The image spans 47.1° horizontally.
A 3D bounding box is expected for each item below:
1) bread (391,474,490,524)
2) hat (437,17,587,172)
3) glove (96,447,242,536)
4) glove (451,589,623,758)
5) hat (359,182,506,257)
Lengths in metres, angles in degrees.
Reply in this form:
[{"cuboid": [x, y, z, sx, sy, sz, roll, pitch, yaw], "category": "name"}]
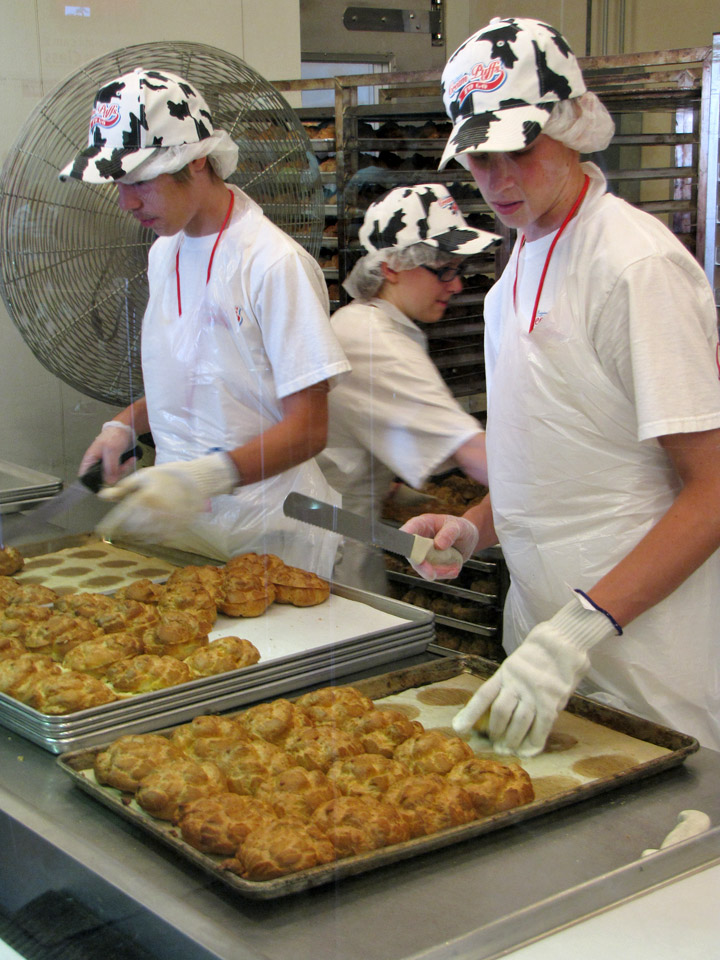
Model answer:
[{"cuboid": [0.078, 0.017, 0.877, 0.050, 0.021, 0.087, -19, -1, 28], "category": "bread"}, {"cuboid": [0.154, -0.391, 0.880, 0.175, 0.103, 0.127, -50, 36, -17], "category": "hat"}, {"cuboid": [-0.213, 0.015, 0.969, 0.155, 0.081, 0.051, -22, 21, 11], "category": "glove"}, {"cuboid": [0.193, 0.203, 0.863, 0.084, 0.062, 0.241, 25, 45, 28], "category": "glove"}, {"cuboid": [0.074, -0.293, 0.920, 0.170, 0.070, 0.098, 3, 29, 19], "category": "hat"}]
